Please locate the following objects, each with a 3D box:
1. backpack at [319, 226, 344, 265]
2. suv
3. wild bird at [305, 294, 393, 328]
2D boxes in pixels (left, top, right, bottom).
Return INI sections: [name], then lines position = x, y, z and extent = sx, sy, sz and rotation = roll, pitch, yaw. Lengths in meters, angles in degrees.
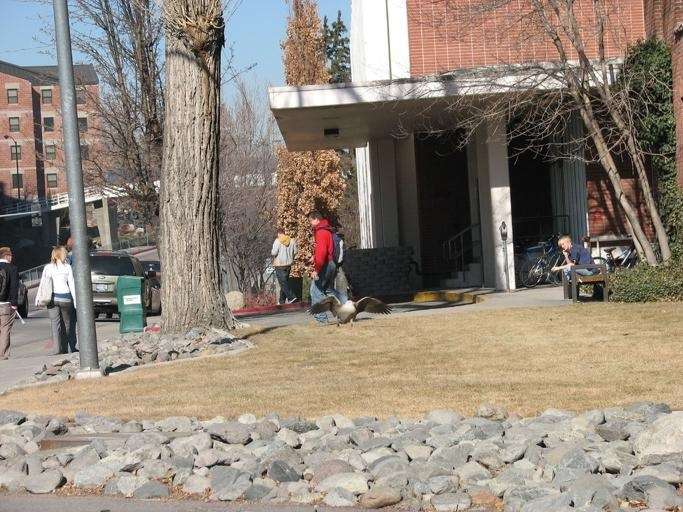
[backpack]
position = -0.109, -0.263, 23.823
extent = 0.698, 0.781, 0.498
rotation = -1, 2, 7
[suv]
position = -6.599, 0.831, 32.385
extent = 1.617, 1.817, 4.125
rotation = 0, 0, -10
[wild bird]
position = 0.249, 1.112, 22.810
extent = 1.092, 0.754, 1.236
rotation = 3, -1, 11
